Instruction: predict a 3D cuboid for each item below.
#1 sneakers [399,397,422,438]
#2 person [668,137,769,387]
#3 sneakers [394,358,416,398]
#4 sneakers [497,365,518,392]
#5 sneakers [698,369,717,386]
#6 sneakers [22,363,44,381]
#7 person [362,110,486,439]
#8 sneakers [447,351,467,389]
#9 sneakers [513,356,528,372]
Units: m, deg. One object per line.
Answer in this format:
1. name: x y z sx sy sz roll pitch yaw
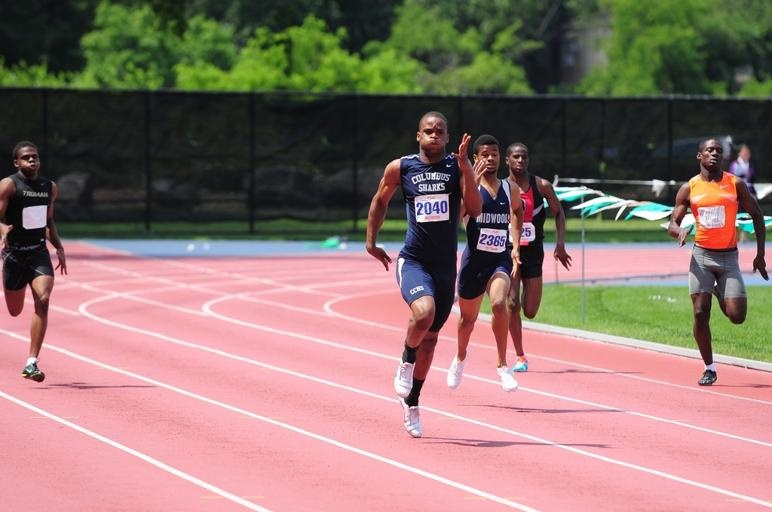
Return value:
1. sneakers: 0.284 1.634 10.045 0.160 0.430 0.199 -10 -12 -39
2. person: 3.829 0.088 11.669 1.082 2.822 0.509 4 10 15
3. sneakers: 0.186 1.221 10.018 0.156 0.394 0.178 6 -9 0
4. sneakers: 1.309 1.312 10.862 0.155 0.128 0.380 -9 11 -9
5. sneakers: 3.749 1.425 11.698 0.118 0.140 0.305 -4 -2 28
6. sneakers: -3.995 1.336 11.443 0.140 0.173 0.374 6 -6 -43
7. person: 0.382 0.181 10.069 0.819 3.194 0.951 -6 12 -41
8. sneakers: 0.754 1.230 10.829 0.148 0.383 0.164 11 2 6
9. sneakers: 1.628 1.311 12.167 0.150 0.106 0.259 -1 6 -3
